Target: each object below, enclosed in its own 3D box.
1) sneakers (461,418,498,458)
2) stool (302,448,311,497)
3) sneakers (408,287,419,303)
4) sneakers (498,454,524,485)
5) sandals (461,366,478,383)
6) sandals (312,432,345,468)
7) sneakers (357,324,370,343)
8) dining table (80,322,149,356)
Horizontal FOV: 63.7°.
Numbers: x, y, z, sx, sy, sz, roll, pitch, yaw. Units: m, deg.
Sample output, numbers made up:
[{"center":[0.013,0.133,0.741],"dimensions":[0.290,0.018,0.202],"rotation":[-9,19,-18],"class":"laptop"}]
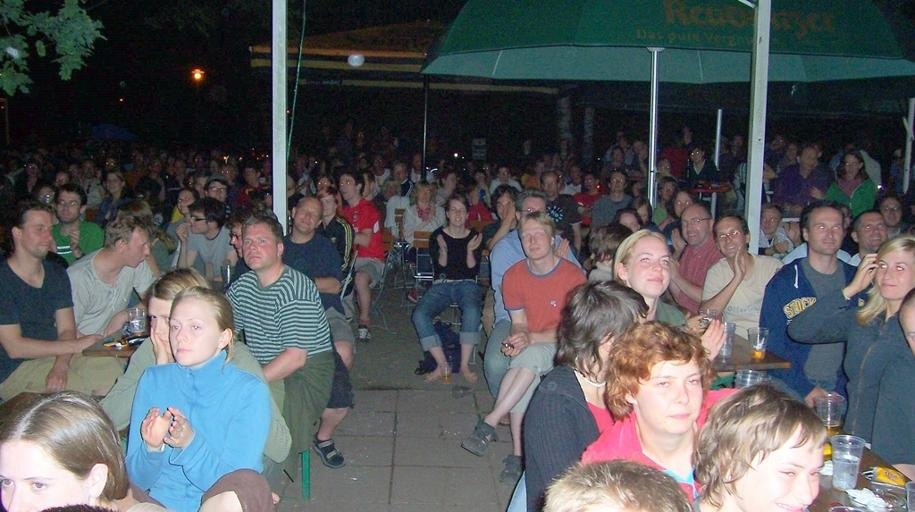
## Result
[{"center":[0.244,2.091,8.417],"dimensions":[0.253,0.263,0.601],"rotation":[34,4,13],"class":"sneakers"},{"center":[-1.659,2.377,7.970],"dimensions":[0.139,0.491,0.118],"rotation":[-3,-12,4],"class":"stool"},{"center":[-0.771,0.682,12.920],"dimensions":[0.230,0.101,0.269],"rotation":[16,23,6],"class":"sneakers"},{"center":[0.603,2.385,8.242],"dimensions":[0.220,0.254,0.250],"rotation":[6,6,13],"class":"sneakers"},{"center":[0.145,1.637,10.006],"dimensions":[0.129,0.236,0.340],"rotation":[-8,6,-39],"class":"sandals"},{"center":[-1.467,2.234,8.437],"dimensions":[0.466,0.179,0.218],"rotation":[20,17,35],"class":"sandals"},{"center":[-1.432,1.180,11.180],"dimensions":[0.167,0.093,0.264],"rotation":[4,30,-5],"class":"sneakers"},{"center":[-3.700,0.994,8.022],"dimensions":[0.580,0.175,0.779],"rotation":[3,13,-2],"class":"dining table"}]
